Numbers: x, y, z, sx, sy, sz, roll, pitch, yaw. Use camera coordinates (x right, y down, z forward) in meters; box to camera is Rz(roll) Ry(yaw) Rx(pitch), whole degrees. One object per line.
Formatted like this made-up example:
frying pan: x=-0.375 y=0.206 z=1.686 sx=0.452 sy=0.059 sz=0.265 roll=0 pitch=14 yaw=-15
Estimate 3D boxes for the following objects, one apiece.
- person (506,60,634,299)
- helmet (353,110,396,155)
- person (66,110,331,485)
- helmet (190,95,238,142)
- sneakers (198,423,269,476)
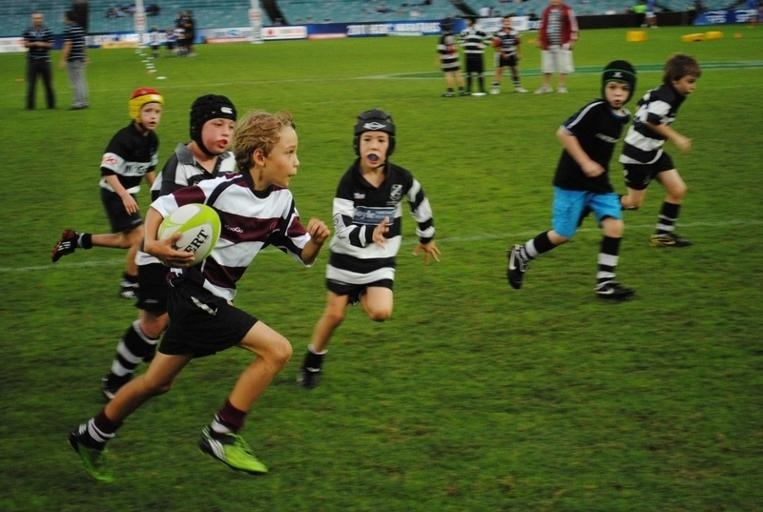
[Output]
person: x=1.765 y=-0.706 z=6.211 sx=1.083 sy=2.117 sz=0.962 roll=3 pitch=22 yaw=15
helmet: x=-0.059 y=-0.901 z=4.976 sx=0.293 sy=0.343 sz=0.220 roll=-3 pitch=20 yaw=-2
person: x=-1.032 y=0.235 z=4.213 sx=1.020 sy=2.216 sz=1.528 roll=14 pitch=25 yaw=36
helmet: x=-1.080 y=-0.964 z=4.703 sx=0.449 sy=0.281 sz=0.360 roll=3 pitch=25 yaw=0
sneakers: x=-0.909 y=1.200 z=4.159 sx=0.382 sy=0.314 sz=0.241 roll=-5 pitch=19 yaw=-10
